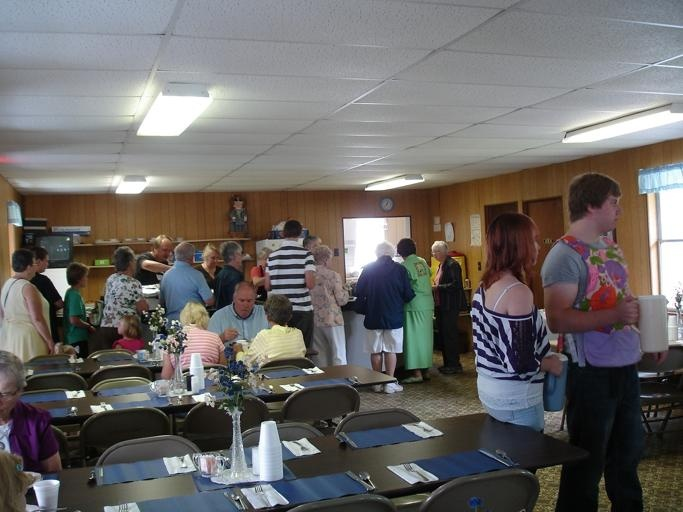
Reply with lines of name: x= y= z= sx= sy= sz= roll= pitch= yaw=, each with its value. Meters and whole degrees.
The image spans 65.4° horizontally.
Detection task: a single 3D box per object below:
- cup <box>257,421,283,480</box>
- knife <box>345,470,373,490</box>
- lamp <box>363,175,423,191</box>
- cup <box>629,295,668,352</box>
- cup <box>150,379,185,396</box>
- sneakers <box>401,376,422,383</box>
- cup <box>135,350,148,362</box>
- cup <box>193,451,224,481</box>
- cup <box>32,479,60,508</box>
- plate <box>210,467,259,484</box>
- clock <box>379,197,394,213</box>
cup: x=-0.338 y=0.888 z=2.481 sx=0.114 sy=0.262 sz=0.145 roll=-5 pitch=-1 yaw=-9
knife: x=0.091 y=0.992 z=2.358 sx=0.038 sy=0.018 sz=0.114 roll=6 pitch=-5 yaw=-36
lamp: x=0.926 y=-1.293 z=9.424 sx=0.597 sy=0.140 sz=1.512 roll=-4 pitch=-1 yaw=-18
cup: x=1.710 y=0.373 z=2.900 sx=0.217 sy=0.334 sz=0.139 roll=-5 pitch=-1 yaw=2
cup: x=-1.270 y=0.933 z=3.854 sx=0.201 sy=0.075 sz=0.137 roll=8 pitch=-10 yaw=-34
sneakers: x=0.974 y=1.698 z=7.358 sx=0.288 sy=0.095 sz=0.101 roll=2 pitch=-4 yaw=-4
cup: x=-2.004 y=0.992 z=5.280 sx=0.121 sy=0.099 sz=0.105 roll=-2 pitch=-1 yaw=7
cup: x=-0.634 y=1.000 z=2.526 sx=0.087 sy=0.083 sz=0.123 roll=2 pitch=-7 yaw=-26
cup: x=-1.227 y=0.982 z=2.211 sx=0.083 sy=0.111 sz=0.162 roll=-4 pitch=-1 yaw=-28
plate: x=-0.497 y=1.020 z=2.471 sx=0.219 sy=0.058 sz=0.099 roll=-4 pitch=-1 yaw=-9
clock: x=0.911 y=-1.036 z=10.844 sx=0.298 sy=0.269 sz=0.065 roll=4 pitch=-4 yaw=-19
